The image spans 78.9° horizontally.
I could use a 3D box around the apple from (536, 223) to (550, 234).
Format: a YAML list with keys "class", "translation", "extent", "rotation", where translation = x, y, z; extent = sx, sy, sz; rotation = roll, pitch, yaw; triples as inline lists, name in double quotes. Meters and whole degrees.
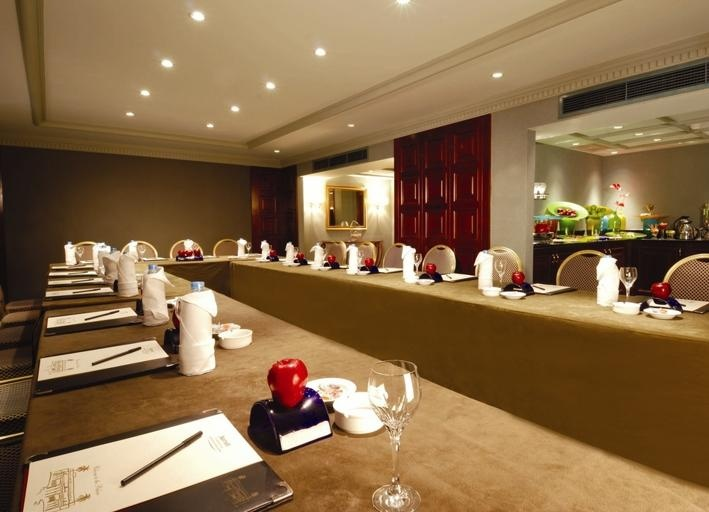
- class: "apple"
  translation: [2.496, -0.372, 5.732]
  extent: [0.138, 0.143, 0.141]
  rotation: [1, 8, -8]

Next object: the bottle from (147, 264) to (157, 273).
- class: "bottle"
  translation: [-1.246, 0.073, 2.647]
  extent: [0.069, 0.071, 0.044]
  rotation: [0, 6, -29]

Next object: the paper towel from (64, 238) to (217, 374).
- class: "paper towel"
  translation: [-1.054, 0.201, 2.031]
  extent: [0.272, 0.467, 1.155]
  rotation: [-6, 12, -37]

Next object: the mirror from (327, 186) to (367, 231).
- class: "mirror"
  translation: [-0.232, -1.153, 10.272]
  extent: [1.065, 0.941, 0.074]
  rotation: [-1, 0, -41]

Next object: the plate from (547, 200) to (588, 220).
- class: "plate"
  translation: [3.368, -0.725, 6.761]
  extent: [0.473, 0.152, 0.486]
  rotation: [-11, 22, -16]

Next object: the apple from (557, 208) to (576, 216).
- class: "apple"
  translation: [3.224, -0.669, 6.556]
  extent: [0.271, 0.134, 0.259]
  rotation: [2, 5, 32]

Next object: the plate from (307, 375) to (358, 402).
- class: "plate"
  translation: [-0.084, 0.479, 1.558]
  extent: [0.182, 0.038, 0.159]
  rotation: [-1, 4, 2]

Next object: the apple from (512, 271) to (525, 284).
- class: "apple"
  translation: [1.054, 0.138, 2.773]
  extent: [0.068, 0.088, 0.073]
  rotation: [1, -8, 18]

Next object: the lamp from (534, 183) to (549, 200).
- class: "lamp"
  translation: [3.147, -1.109, 7.256]
  extent: [0.181, 0.295, 0.607]
  rotation: [1, 5, 25]

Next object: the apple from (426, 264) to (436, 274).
- class: "apple"
  translation: [0.589, 0.100, 3.289]
  extent: [0.065, 0.057, 0.066]
  rotation: [1, -1, -25]

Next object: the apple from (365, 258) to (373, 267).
- class: "apple"
  translation: [0.129, 0.053, 3.731]
  extent: [0.060, 0.060, 0.061]
  rotation: [7, 3, -25]

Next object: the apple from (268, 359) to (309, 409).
- class: "apple"
  translation: [-0.207, 0.398, 1.369]
  extent: [0.128, 0.139, 0.139]
  rotation: [-1, 1, -9]

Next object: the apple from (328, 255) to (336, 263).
- class: "apple"
  translation: [-0.207, 0.023, 4.151]
  extent: [0.058, 0.061, 0.058]
  rotation: [2, 6, -5]
